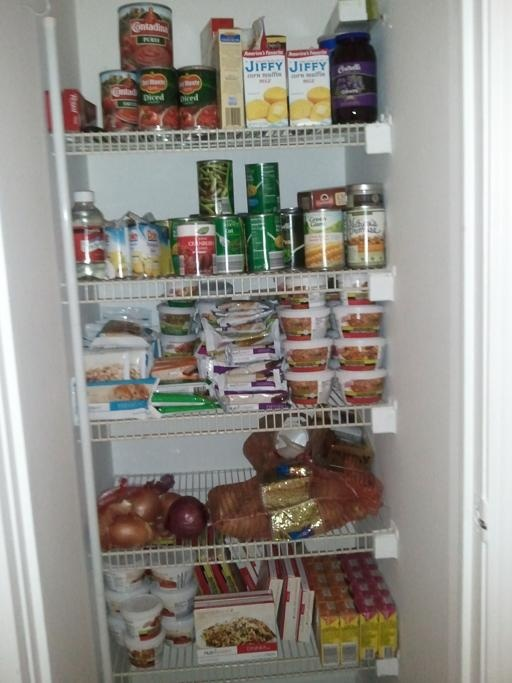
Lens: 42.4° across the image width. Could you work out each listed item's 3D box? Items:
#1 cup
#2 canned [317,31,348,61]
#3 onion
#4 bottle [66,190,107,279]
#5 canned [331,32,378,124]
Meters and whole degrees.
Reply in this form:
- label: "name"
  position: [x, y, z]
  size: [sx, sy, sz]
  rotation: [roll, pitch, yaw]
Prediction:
- label: "cup"
  position: [-0.217, 0.585, 1.526]
  size: [0.235, 0.206, 0.255]
  rotation: [-3, -4, 0]
- label: "canned"
  position: [0.154, -0.595, 1.325]
  size: [0.057, 0.050, 0.054]
  rotation: [0, 2, 2]
- label: "onion"
  position: [-0.234, 0.388, 1.458]
  size: [0.184, 0.074, 0.131]
  rotation: [-1, -2, -4]
- label: "bottle"
  position: [-0.333, -0.201, 1.322]
  size: [0.065, 0.151, 0.067]
  rotation: [-6, 13, 1]
- label: "canned"
  position: [0.198, -0.518, 1.316]
  size: [0.104, 0.174, 0.075]
  rotation: [-7, 13, -1]
